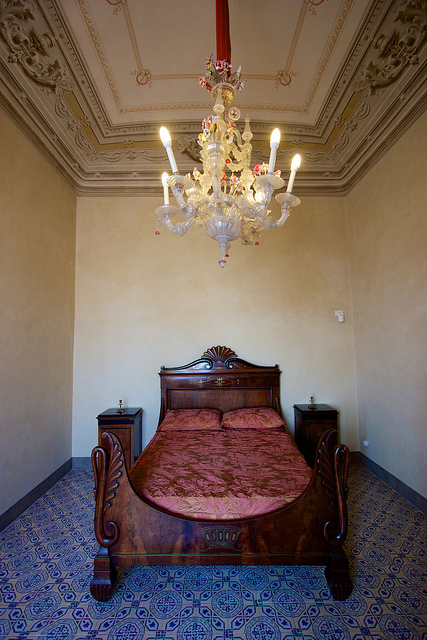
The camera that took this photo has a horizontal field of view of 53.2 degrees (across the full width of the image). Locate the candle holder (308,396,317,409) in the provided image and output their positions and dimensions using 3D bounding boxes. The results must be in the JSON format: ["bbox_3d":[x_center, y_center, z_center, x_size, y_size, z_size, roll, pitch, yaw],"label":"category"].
[{"bbox_3d":[0.930,0.779,4.033,0.071,0.080,0.066,-10,-17,43],"label":"candle holder"}]

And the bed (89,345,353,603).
[{"bbox_3d":[0.064,0.864,3.211,1.475,1.154,2.173,-1,0,-2],"label":"bed"}]

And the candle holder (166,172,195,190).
[{"bbox_3d":[-0.151,-0.672,2.106,0.128,0.077,0.134,-3,3,-37],"label":"candle holder"}]

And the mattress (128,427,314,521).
[{"bbox_3d":[0.059,1.094,3.092,1.152,0.213,1.932,-1,-6,-1],"label":"mattress"}]

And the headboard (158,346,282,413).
[{"bbox_3d":[0.078,0.756,4.240,1.180,1.065,0.088,-1,18,0],"label":"headboard"}]

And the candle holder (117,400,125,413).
[{"bbox_3d":[-0.854,0.808,4.016,0.078,0.086,0.079,-4,-6,37],"label":"candle holder"}]
